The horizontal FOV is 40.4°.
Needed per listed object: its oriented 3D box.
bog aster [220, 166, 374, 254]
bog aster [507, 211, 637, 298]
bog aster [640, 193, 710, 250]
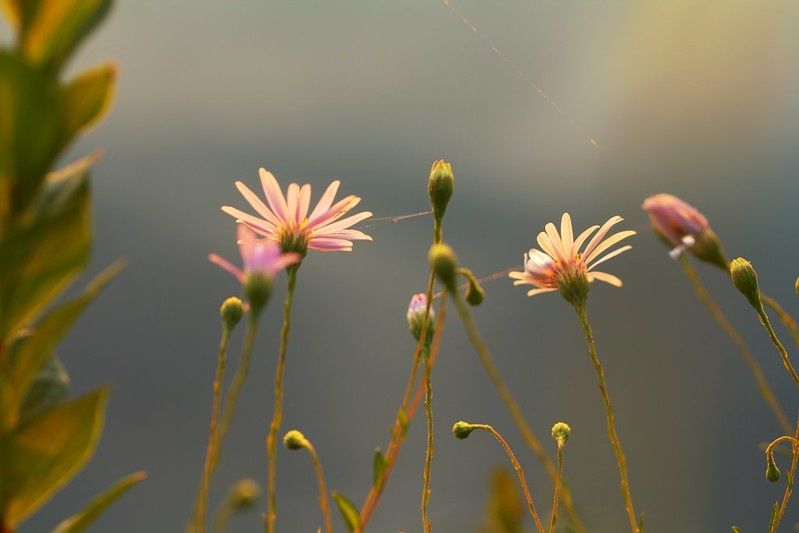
[{"bbox_3d":[-0.194,-0.072,1.972,0.250,0.150,0.307,-1,-7,-6],"label":"bog aster"},{"bbox_3d":[0.323,0.017,2.017,0.159,0.192,0.085,-26,-38,2],"label":"bog aster"},{"bbox_3d":[0.484,-0.061,1.903,0.122,0.070,0.083,14,-26,-39],"label":"bog aster"}]
